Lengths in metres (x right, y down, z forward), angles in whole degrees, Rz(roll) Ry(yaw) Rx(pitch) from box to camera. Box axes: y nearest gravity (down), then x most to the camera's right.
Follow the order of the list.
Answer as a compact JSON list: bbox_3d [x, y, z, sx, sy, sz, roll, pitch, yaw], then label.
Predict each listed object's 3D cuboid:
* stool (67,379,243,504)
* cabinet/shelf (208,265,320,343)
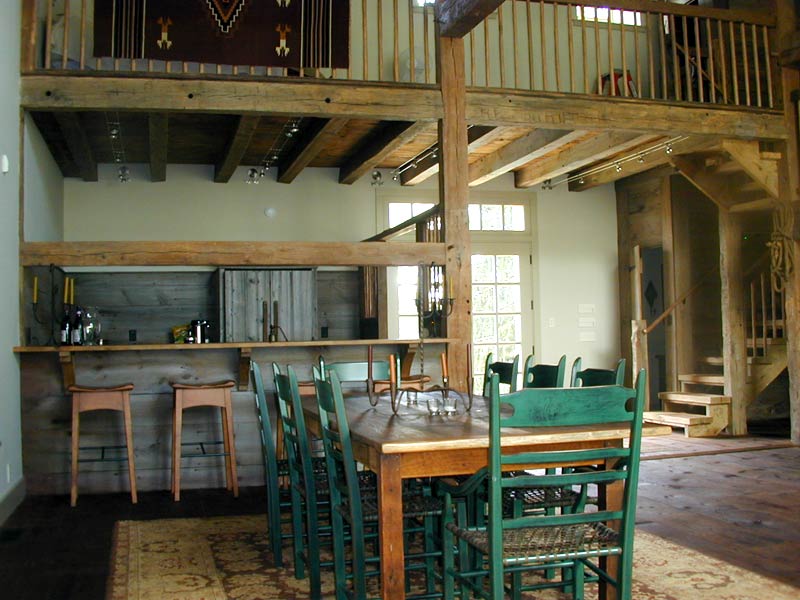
[{"bbox_3d":[-2.173,1.217,6.195,1.165,0.767,0.398,-1,0,-10],"label":"stool"},{"bbox_3d":[-1.619,0.040,8.735,1.083,0.875,0.390,0,-2,-10],"label":"cabinet/shelf"}]
